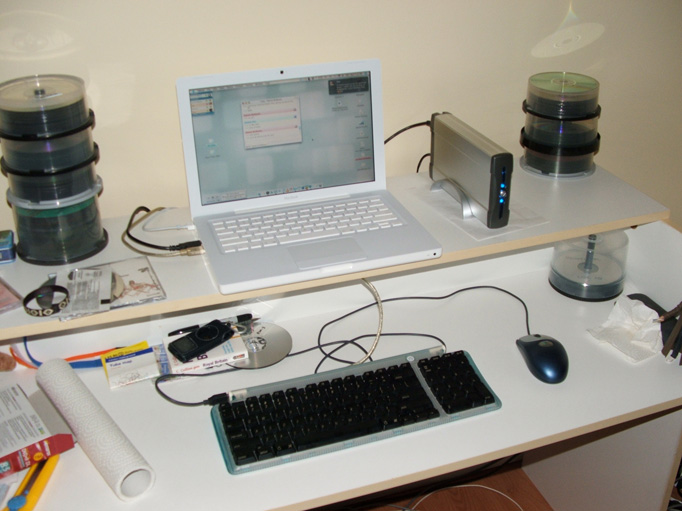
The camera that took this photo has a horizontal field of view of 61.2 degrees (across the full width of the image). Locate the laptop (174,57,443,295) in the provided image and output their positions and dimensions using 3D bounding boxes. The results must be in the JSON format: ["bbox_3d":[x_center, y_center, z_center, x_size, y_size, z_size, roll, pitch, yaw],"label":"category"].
[{"bbox_3d":[-0.120,-0.104,1.525,0.673,0.457,0.539,-12,45,-15],"label":"laptop"}]

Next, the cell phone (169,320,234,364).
[{"bbox_3d":[-0.351,0.206,1.440,0.079,0.032,0.136,27,42,34],"label":"cell phone"}]

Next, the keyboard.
[{"bbox_3d":[0.033,0.337,1.328,0.651,0.064,0.215,-12,34,-11],"label":"keyboard"}]
